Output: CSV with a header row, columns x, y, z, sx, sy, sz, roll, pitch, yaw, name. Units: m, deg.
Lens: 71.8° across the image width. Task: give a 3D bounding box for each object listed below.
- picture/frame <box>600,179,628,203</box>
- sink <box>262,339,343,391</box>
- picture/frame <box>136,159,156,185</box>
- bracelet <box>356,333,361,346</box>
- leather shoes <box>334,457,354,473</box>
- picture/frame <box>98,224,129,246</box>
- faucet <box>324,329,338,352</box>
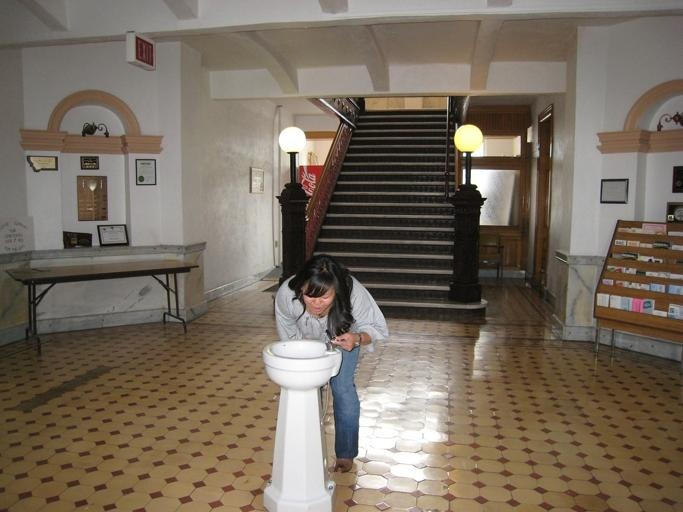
x,y,z,sx,sy,sz,roll,pitch,yaw,name
3.738,-0.893,6.484,0.045,0.326,0.319,-7,10,-41,picture/frame
-0.258,0.674,3.173,0.388,0.225,0.358,4,10,4,sink
-3.088,-1.339,7.470,0.409,0.542,0.038,0,4,-16,picture/frame
0.125,0.625,3.443,0.019,0.066,0.069,3,0,-18,bracelet
0.019,1.658,3.809,0.096,0.133,0.119,1,-5,14,leather shoes
-3.611,-0.321,7.466,0.333,0.282,0.026,-4,-15,-30,picture/frame
-0.076,0.606,3.353,0.082,0.152,0.101,-3,1,2,faucet
